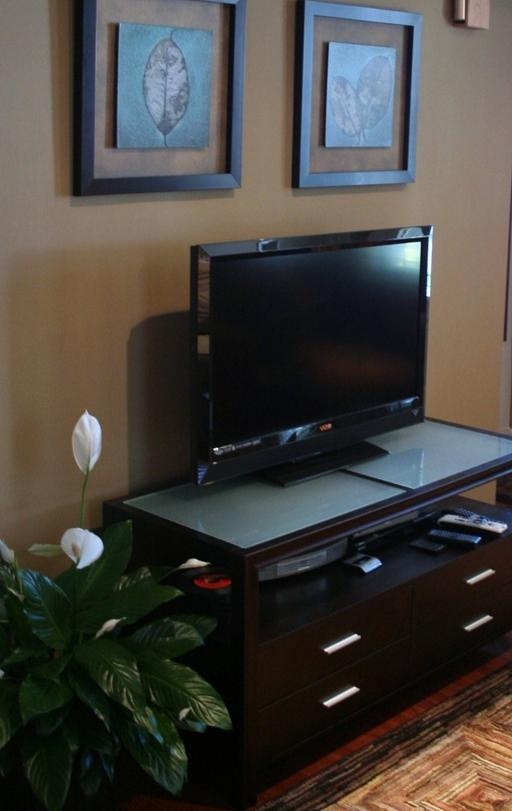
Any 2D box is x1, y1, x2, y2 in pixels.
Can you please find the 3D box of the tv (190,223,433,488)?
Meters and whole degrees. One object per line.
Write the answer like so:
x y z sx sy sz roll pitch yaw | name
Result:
0.178 -0.154 1.860 0.824 0.624 0.122 -12 20 -34 | tv

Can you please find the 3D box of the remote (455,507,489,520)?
0.682 0.354 2.128 0.086 0.016 0.046 9 16 21 | remote

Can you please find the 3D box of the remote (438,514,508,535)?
0.655 0.352 2.033 0.133 0.029 0.081 7 15 24 | remote
